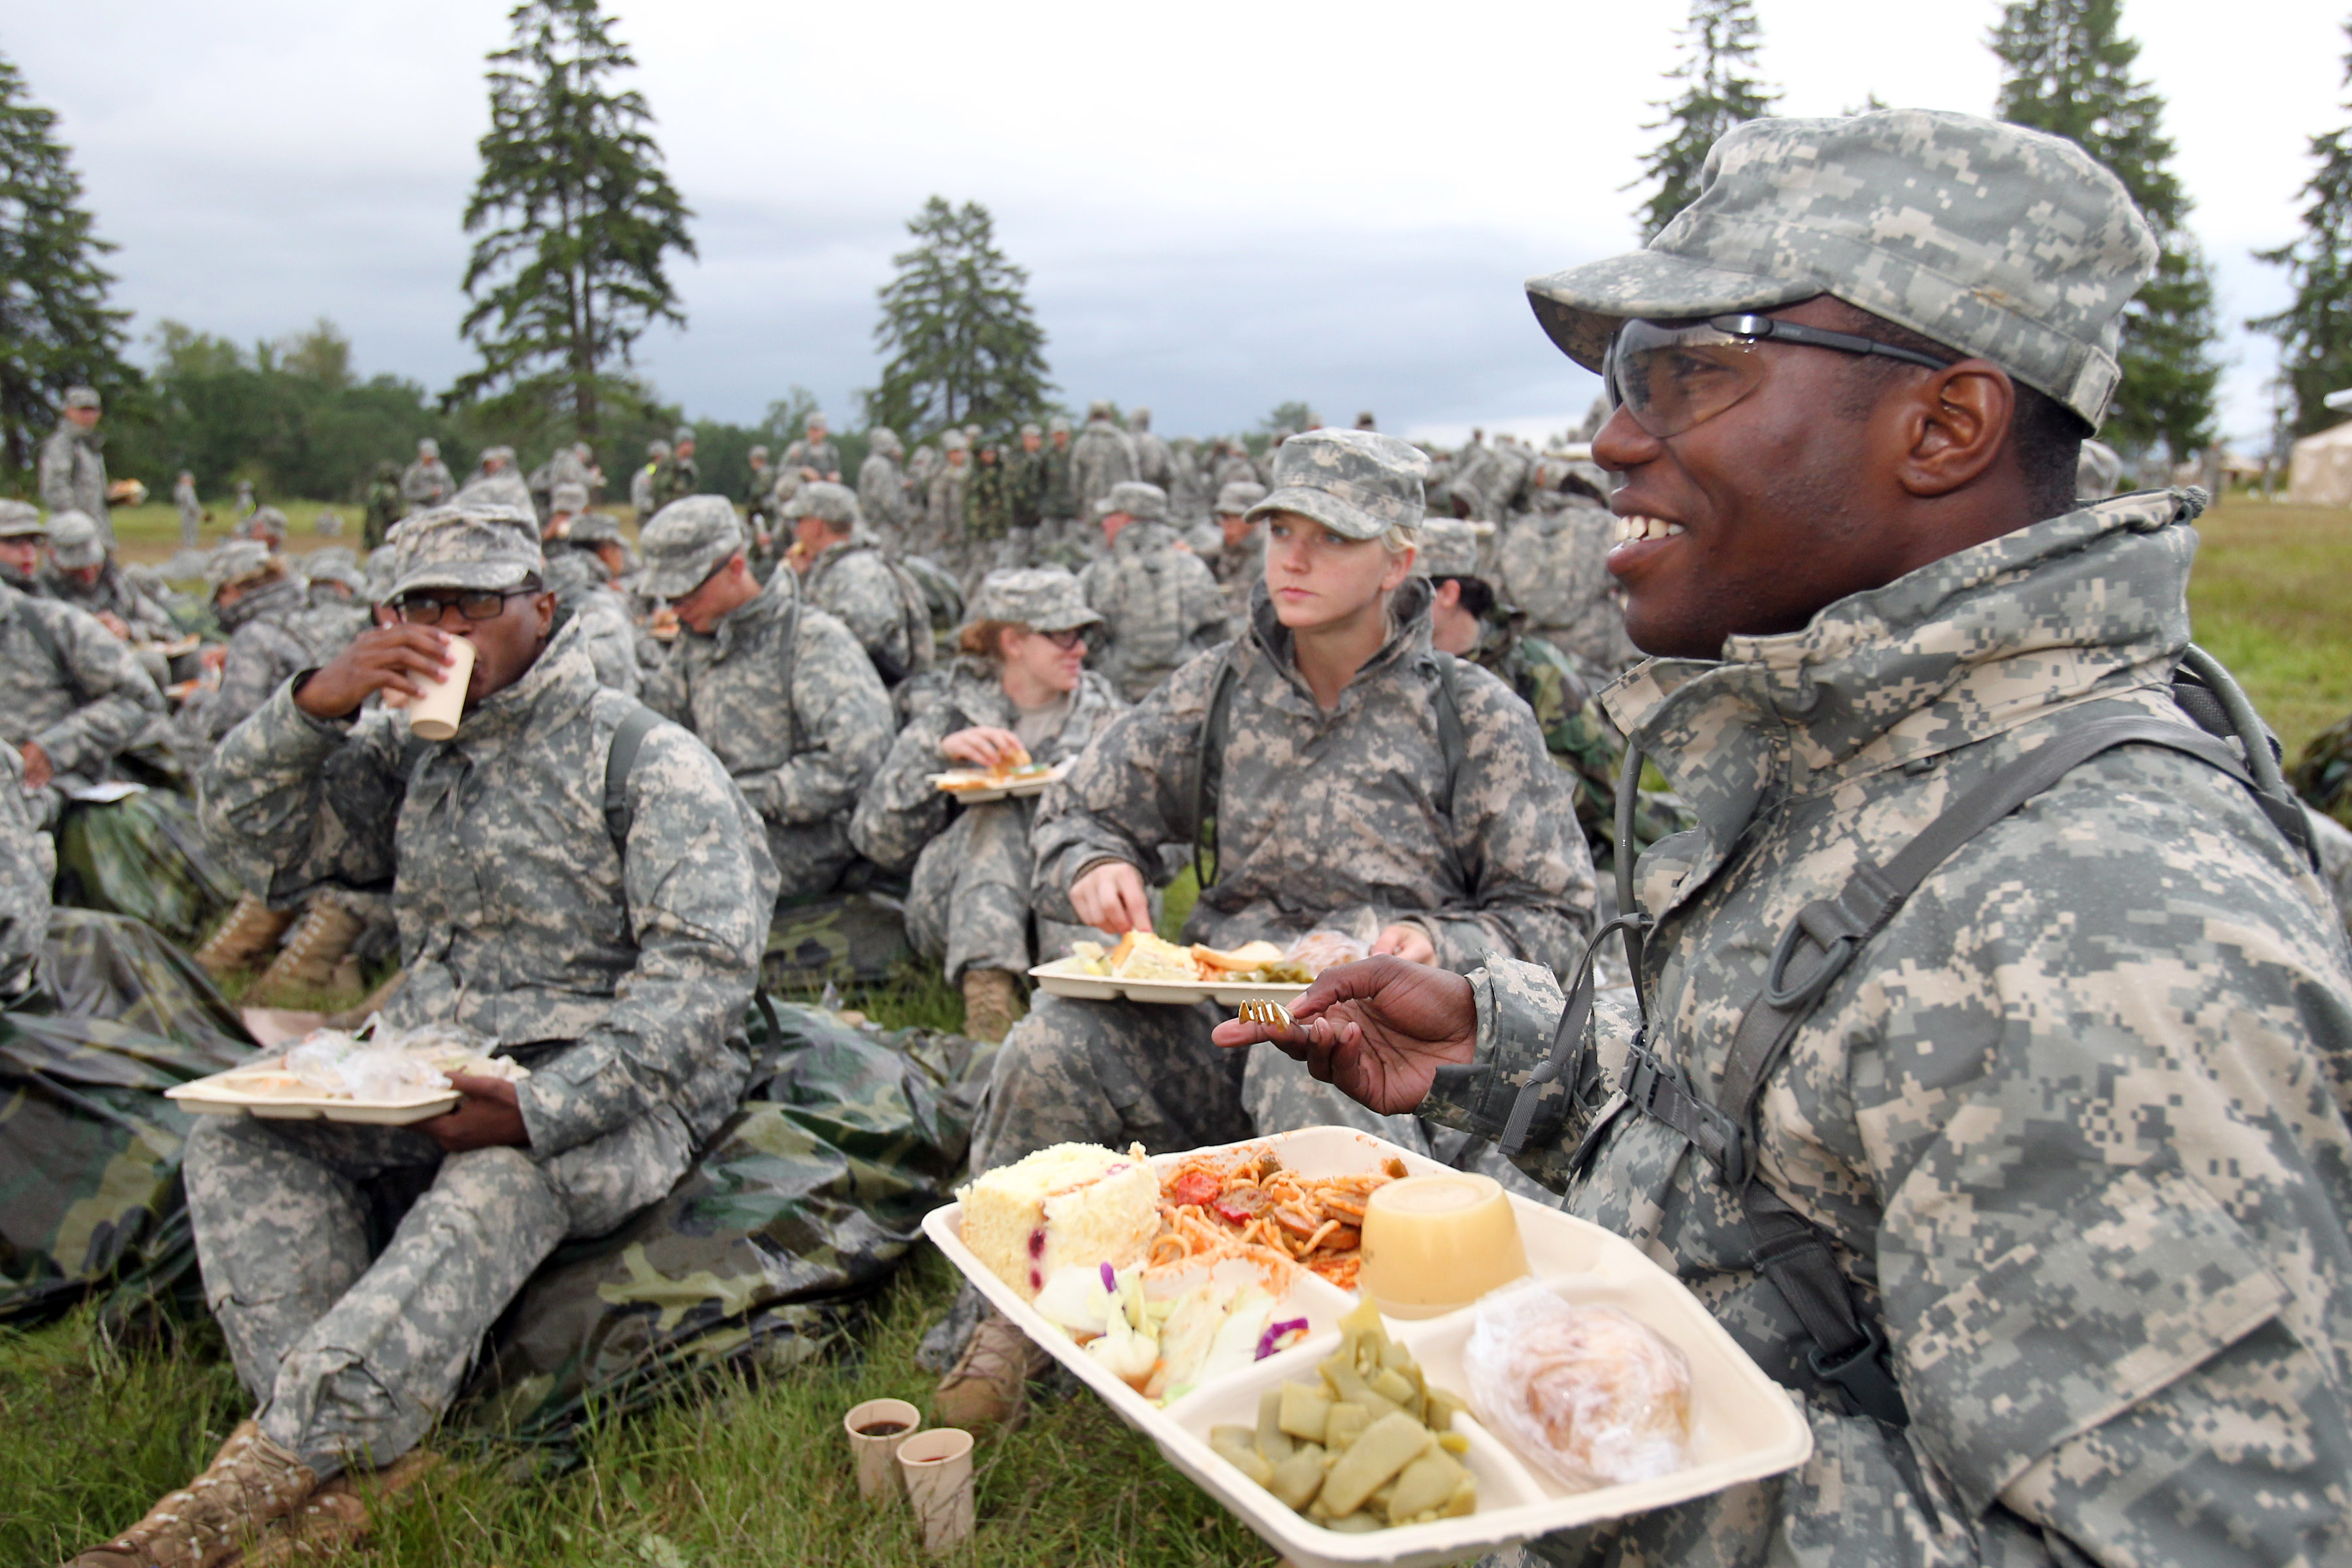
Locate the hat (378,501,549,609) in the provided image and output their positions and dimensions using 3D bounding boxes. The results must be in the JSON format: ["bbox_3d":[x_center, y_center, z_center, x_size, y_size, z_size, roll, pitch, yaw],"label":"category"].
[{"bbox_3d":[-2.159,-0.738,5.576,0.455,0.265,0.587,-2,14,18],"label":"hat"}]

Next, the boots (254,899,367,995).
[{"bbox_3d":[-4.171,0.752,8.685,0.216,0.445,0.674,-16,-12,11],"label":"boots"}]

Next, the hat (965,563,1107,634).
[{"bbox_3d":[-0.721,-0.876,8.869,0.618,0.235,0.425,3,7,12],"label":"hat"}]

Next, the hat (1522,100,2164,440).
[{"bbox_3d":[1.200,-0.881,3.274,1.037,0.478,0.758,11,4,22],"label":"hat"}]

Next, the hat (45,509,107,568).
[{"bbox_3d":[-8.894,-1.969,14.758,0.475,0.232,0.651,-1,10,-30],"label":"hat"}]

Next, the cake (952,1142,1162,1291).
[{"bbox_3d":[-0.242,0.796,3.541,0.274,0.094,0.275,0,13,39],"label":"cake"}]
